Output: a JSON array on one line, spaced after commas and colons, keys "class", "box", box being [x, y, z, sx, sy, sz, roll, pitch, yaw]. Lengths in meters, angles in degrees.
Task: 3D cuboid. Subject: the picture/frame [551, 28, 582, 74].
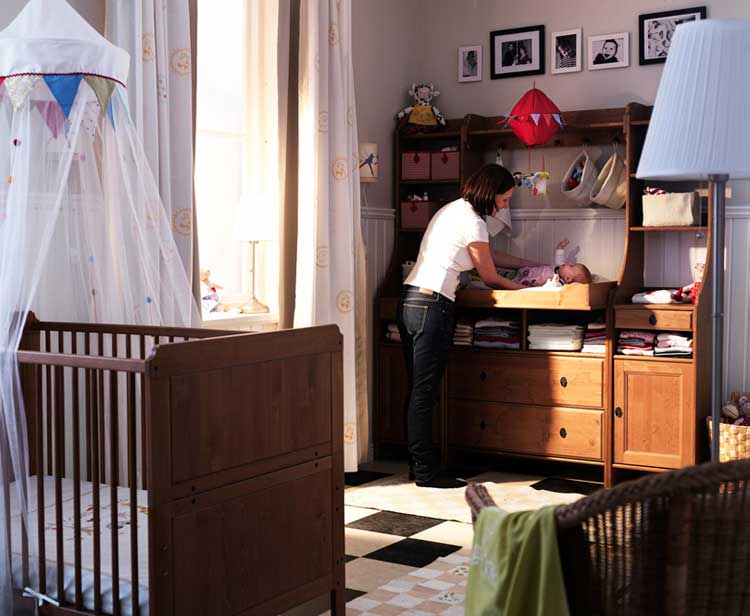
[{"class": "picture/frame", "box": [1.186, -1.590, 4.534, 0.191, 0.282, 0.027, -1, -13, 16]}]

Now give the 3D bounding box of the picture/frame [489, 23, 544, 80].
[{"class": "picture/frame", "box": [0.921, -1.634, 4.661, 0.357, 0.332, 0.029, 2, 2, 31]}]

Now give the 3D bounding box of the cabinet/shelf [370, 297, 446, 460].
[{"class": "cabinet/shelf", "box": [0.225, 0.437, 4.736, 0.421, 0.995, 0.297, 0, -5, 2]}]

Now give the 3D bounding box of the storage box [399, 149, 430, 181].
[{"class": "storage box", "box": [0.257, -0.919, 4.726, 0.174, 0.189, 0.182, 3, 7, 24]}]

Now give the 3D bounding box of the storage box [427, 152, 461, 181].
[{"class": "storage box", "box": [0.436, -0.883, 4.621, 0.170, 0.182, 0.180, 2, 6, 20]}]

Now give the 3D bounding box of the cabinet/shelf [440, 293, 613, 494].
[{"class": "cabinet/shelf", "box": [0.868, 0.447, 4.380, 0.387, 1.140, 1.079, 5, -6, -33]}]

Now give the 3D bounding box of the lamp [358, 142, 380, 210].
[{"class": "lamp", "box": [-0.037, -0.822, 4.540, 0.106, 0.380, 0.290, 0, 3, 1]}]

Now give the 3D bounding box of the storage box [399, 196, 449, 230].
[{"class": "storage box", "box": [0.294, -0.602, 4.770, 0.305, 0.246, 0.177, 2, 4, 33]}]

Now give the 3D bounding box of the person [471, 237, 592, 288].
[{"class": "person", "box": [0.911, -0.218, 4.236, 0.731, 0.297, 0.570, 0, 13, 12]}]

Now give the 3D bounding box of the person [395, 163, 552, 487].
[{"class": "person", "box": [0.432, 0.105, 3.998, 0.601, 1.768, 0.283, 0, 3, 1]}]

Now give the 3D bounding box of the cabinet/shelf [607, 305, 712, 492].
[{"class": "cabinet/shelf", "box": [1.518, 0.483, 3.998, 0.430, 1.040, 0.426, 0, 3, 25]}]
